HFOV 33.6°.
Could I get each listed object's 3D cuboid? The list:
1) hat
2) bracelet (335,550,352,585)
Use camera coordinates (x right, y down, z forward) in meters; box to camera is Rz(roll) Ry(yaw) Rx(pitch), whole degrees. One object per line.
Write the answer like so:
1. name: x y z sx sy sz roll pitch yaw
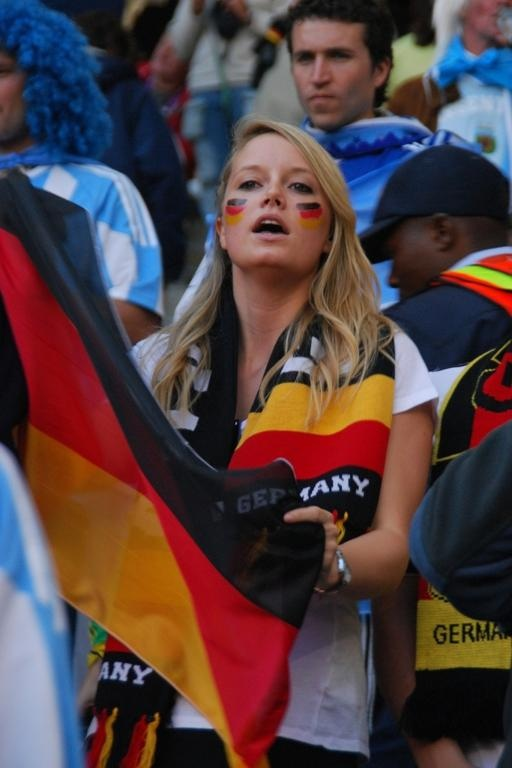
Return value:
1. hat: 0.553 -0.578 2.736 0.420 0.221 0.312 -9 -3 31
2. bracelet: 0.175 0.365 1.701 0.026 0.086 0.055 -8 39 7
